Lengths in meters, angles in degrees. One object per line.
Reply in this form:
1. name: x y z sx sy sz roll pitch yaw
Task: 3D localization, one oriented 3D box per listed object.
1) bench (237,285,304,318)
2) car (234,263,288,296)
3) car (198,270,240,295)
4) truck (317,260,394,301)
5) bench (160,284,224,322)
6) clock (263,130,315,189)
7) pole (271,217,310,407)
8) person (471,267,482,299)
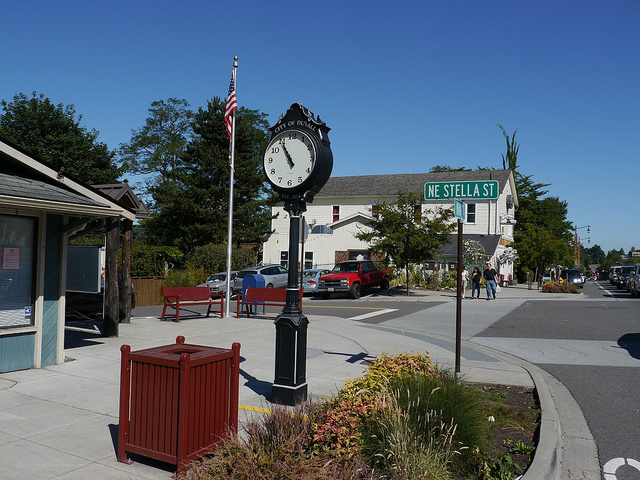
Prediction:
1. bench: -2.055 1.961 19.239 0.604 1.008 1.798 -6 -4 -28
2. car: -2.572 1.873 29.848 1.459 1.389 3.307 -3 -5 33
3. car: -5.062 2.027 29.927 1.356 1.011 2.397 -2 -5 17
4. truck: 1.723 1.861 30.228 1.631 1.413 4.442 -3 -4 22
5. bench: -3.902 1.916 18.531 0.809 1.095 2.079 -1 -3 33
6. clock: -0.486 -1.294 9.762 0.903 1.088 0.166 -1 -20 7
7. pole: -0.459 1.082 9.356 0.564 2.910 0.482 1 -1 -5
8. person: 7.476 2.004 28.829 0.417 1.474 2.594 1 -2 14
